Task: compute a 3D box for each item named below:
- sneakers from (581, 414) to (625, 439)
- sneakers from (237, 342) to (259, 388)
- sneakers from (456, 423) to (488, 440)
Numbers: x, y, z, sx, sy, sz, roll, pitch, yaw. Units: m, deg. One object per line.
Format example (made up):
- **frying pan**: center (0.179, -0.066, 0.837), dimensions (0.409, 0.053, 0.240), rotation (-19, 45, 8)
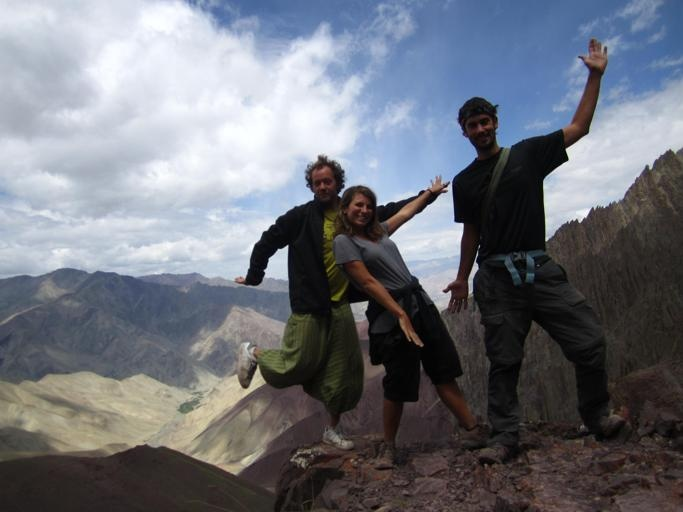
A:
- **sneakers**: center (2.249, 1.403, 3.601), dimensions (0.230, 0.091, 0.235), rotation (-27, -11, 7)
- **sneakers**: center (-1.069, 1.211, 4.770), dimensions (0.236, 0.581, 0.207), rotation (4, -1, 9)
- **sneakers**: center (1.317, 1.740, 4.171), dimensions (0.331, 0.148, 0.123), rotation (-10, 37, 13)
